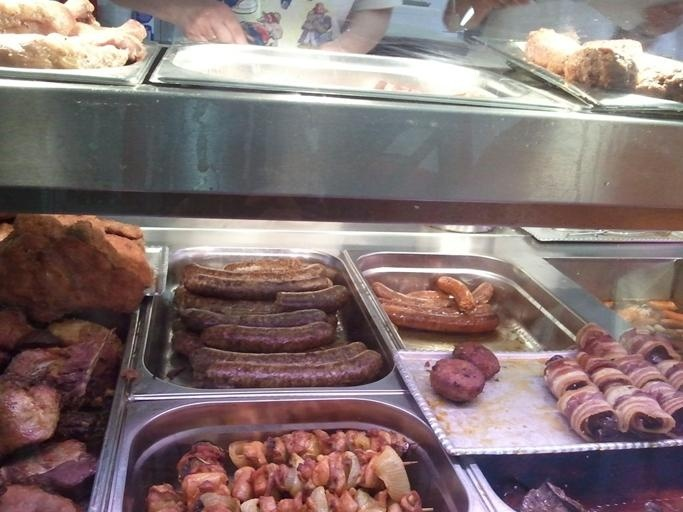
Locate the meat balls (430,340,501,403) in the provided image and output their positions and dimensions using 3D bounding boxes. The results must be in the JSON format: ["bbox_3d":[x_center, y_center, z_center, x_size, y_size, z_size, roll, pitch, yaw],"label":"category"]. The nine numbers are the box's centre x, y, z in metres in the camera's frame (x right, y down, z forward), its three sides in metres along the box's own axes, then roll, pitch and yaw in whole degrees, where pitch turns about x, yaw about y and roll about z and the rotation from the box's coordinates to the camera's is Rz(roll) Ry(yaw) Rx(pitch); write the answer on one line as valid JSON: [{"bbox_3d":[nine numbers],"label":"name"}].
[{"bbox_3d":[0.372,0.348,1.480,0.158,0.101,0.247,11,24,26],"label":"meat balls"}]
